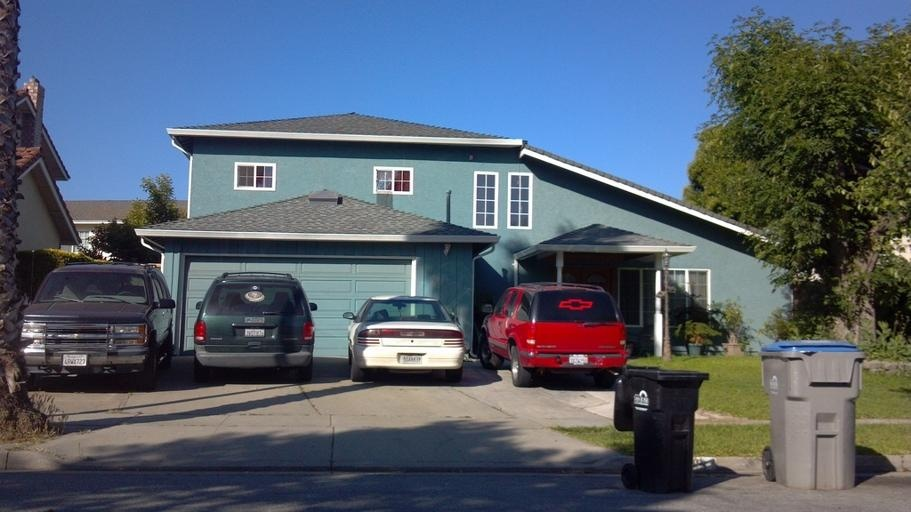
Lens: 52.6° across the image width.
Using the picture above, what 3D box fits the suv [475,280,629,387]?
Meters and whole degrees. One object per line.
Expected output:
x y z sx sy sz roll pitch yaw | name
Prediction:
2.621 2.379 26.916 2.450 3.233 4.200 -9 17 -36 | suv

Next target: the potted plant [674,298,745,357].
9.284 2.725 34.641 2.428 1.441 2.253 2 -4 -21 | potted plant

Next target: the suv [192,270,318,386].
-5.432 1.848 24.924 2.422 1.620 3.688 0 5 -10 | suv

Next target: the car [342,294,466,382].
-1.567 2.594 26.624 3.325 2.618 2.753 0 14 -6 | car
